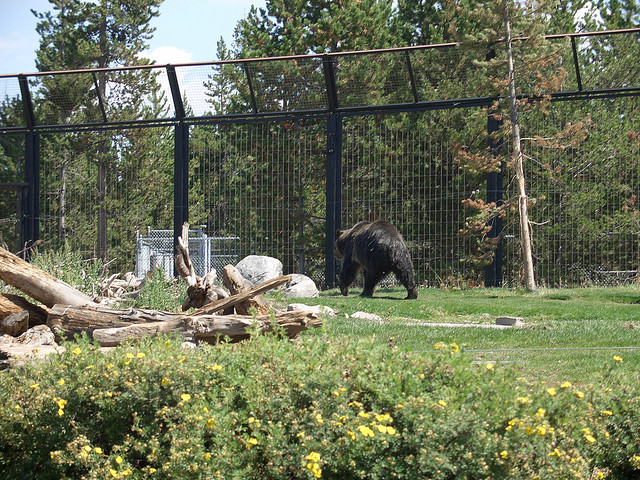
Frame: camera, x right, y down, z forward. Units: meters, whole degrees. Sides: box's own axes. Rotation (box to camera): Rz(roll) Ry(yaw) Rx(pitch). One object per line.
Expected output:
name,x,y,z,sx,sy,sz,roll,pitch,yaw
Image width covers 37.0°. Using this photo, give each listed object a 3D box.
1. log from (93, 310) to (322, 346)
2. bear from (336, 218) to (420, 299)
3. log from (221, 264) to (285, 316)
log,-1.936,1.540,16.439,3.819,0.527,0.435,-1,0,2
bear,1.258,0.476,23.019,1.076,1.805,2.468,-1,0,-27
log,-1.407,0.934,17.856,0.746,0.849,1.100,-1,0,-39
